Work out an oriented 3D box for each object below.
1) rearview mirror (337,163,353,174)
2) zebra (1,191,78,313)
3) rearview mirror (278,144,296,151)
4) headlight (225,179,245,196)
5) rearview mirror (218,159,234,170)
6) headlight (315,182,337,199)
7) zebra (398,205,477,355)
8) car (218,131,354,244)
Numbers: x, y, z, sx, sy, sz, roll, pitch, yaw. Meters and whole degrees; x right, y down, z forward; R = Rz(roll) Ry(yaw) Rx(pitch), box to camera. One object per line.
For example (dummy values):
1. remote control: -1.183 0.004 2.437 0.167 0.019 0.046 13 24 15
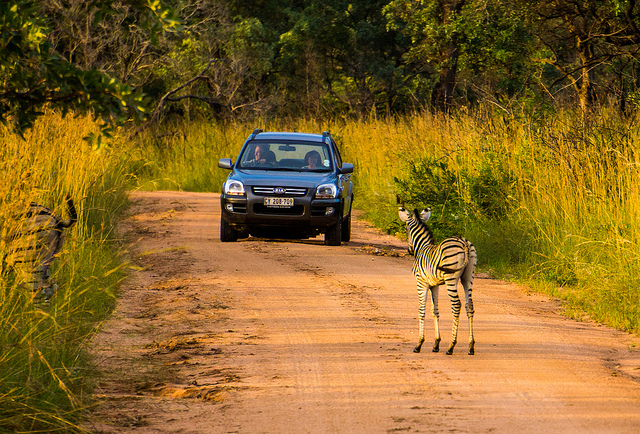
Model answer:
1. rearview mirror: 0.495 -0.943 19.530 0.208 0.092 0.223 -10 17 -2
2. zebra: -3.545 0.460 12.458 0.589 1.381 1.423 2 11 10
3. rearview mirror: -0.668 -1.416 20.166 0.335 0.186 0.512 0 12 -3
4. headlight: -1.652 -0.559 18.878 0.264 0.246 0.540 -10 16 -44
5. rearview mirror: -1.874 -1.049 19.741 0.284 0.261 0.658 0 12 -5
6. headlight: 0.118 -0.474 18.820 0.247 0.158 0.359 3 14 7
7. zebra: 1.563 0.875 12.799 0.880 1.895 1.082 1 10 3
8. car: -0.565 -0.655 20.118 1.681 1.510 2.945 1 -1 3
